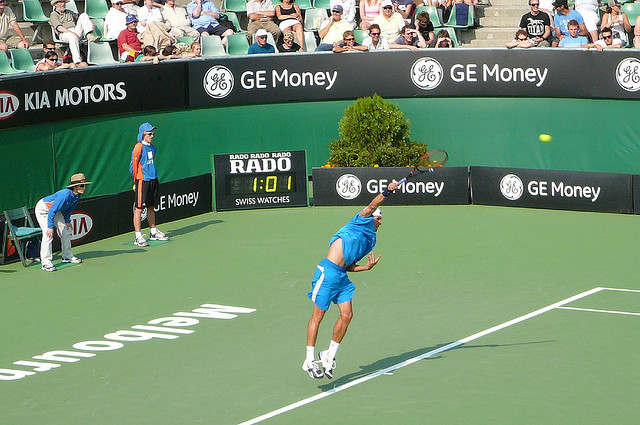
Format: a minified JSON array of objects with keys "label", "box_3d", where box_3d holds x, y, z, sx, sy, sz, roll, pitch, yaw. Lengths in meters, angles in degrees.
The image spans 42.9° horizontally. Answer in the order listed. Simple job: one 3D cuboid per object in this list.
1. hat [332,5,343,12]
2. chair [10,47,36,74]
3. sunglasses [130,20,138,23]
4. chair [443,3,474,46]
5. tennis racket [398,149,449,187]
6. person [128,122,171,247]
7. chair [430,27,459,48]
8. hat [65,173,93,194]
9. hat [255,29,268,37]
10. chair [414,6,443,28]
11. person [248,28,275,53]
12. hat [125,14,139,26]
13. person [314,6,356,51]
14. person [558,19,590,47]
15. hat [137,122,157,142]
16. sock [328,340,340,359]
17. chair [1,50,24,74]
[{"label":"hat","box_3d":[0.614,-6.969,27.938,0.245,0.255,0.505,5,10,34]},{"label":"chair","box_3d":[-9.635,-4.956,26.630,0.860,0.639,0.931,-8,26,-22]},{"label":"sunglasses","box_3d":[-6.184,-6.334,27.108,0.113,0.086,0.246,5,10,32]},{"label":"chair","box_3d":[5.148,-7.096,30.239,0.966,1.385,1.007,3,11,12]},{"label":"tennis racket","box_3d":[2.791,-1.212,24.332,2.312,0.640,0.111,-33,18,38]},{"label":"person","box_3d":[-4.859,-0.760,22.864,0.817,3.413,0.599,-3,8,-19]},{"label":"chair","box_3d":[4.400,-6.253,29.163,0.994,0.944,1.349,0,12,6]},{"label":"hat","box_3d":[-6.289,-0.773,21.116,0.437,0.177,0.414,-22,-6,29]},{"label":"hat","box_3d":[-1.983,-6.031,27.439,0.326,0.270,0.692,-2,8,-9]},{"label":"chair","box_3d":[3.944,-7.271,30.130,0.947,0.920,0.869,0,2,1]},{"label":"person","box_3d":[-1.869,-5.790,27.696,0.745,0.766,1.015,7,11,43]},{"label":"hat","box_3d":[-6.322,-6.456,27.413,0.378,0.421,0.814,-2,8,-13]},{"label":"person","box_3d":[0.457,-6.334,28.215,1.129,1.453,2.169,0,8,2]},{"label":"person","box_3d":[8.487,-5.911,27.373,0.448,0.882,0.928,1,1,-44]},{"label":"hat","box_3d":[-4.900,-2.245,22.943,0.402,0.497,0.764,-2,8,-13]},{"label":"sock","box_3d":[0.246,2.684,16.091,0.210,0.379,0.210,0,8,0]},{"label":"chair","box_3d":[-10.010,-4.878,26.363,0.463,0.743,0.798,-2,8,-10]}]
